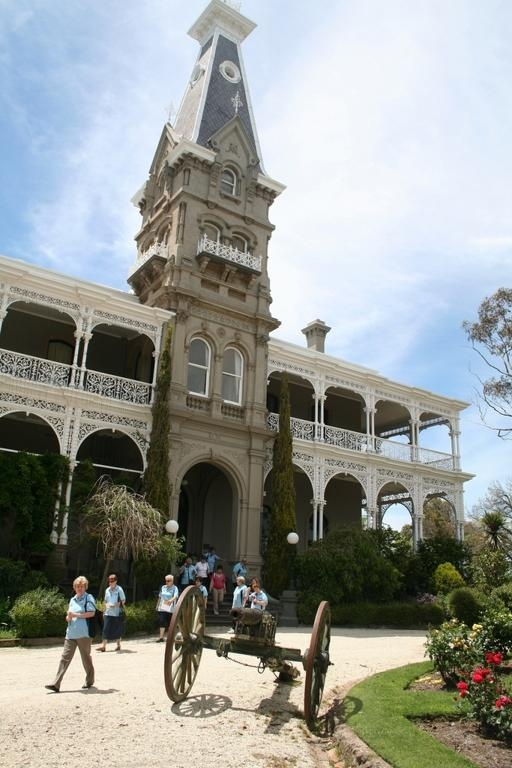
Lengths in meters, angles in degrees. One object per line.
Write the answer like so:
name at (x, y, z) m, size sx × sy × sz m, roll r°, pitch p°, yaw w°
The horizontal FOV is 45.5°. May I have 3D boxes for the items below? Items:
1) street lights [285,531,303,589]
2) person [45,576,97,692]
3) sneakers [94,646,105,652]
street lights at (1.094, 5.375, 18.748) m, size 0.399 × 1.731 × 0.864 m, roll 3°, pitch -16°, yaw 3°
person at (-2.096, 2.900, 7.174) m, size 0.517 × 1.217 × 0.959 m, roll 7°, pitch -16°, yaw -12°
sneakers at (-2.720, 4.625, 10.682) m, size 0.122 × 0.148 × 0.357 m, roll 4°, pitch -25°, yaw -5°
